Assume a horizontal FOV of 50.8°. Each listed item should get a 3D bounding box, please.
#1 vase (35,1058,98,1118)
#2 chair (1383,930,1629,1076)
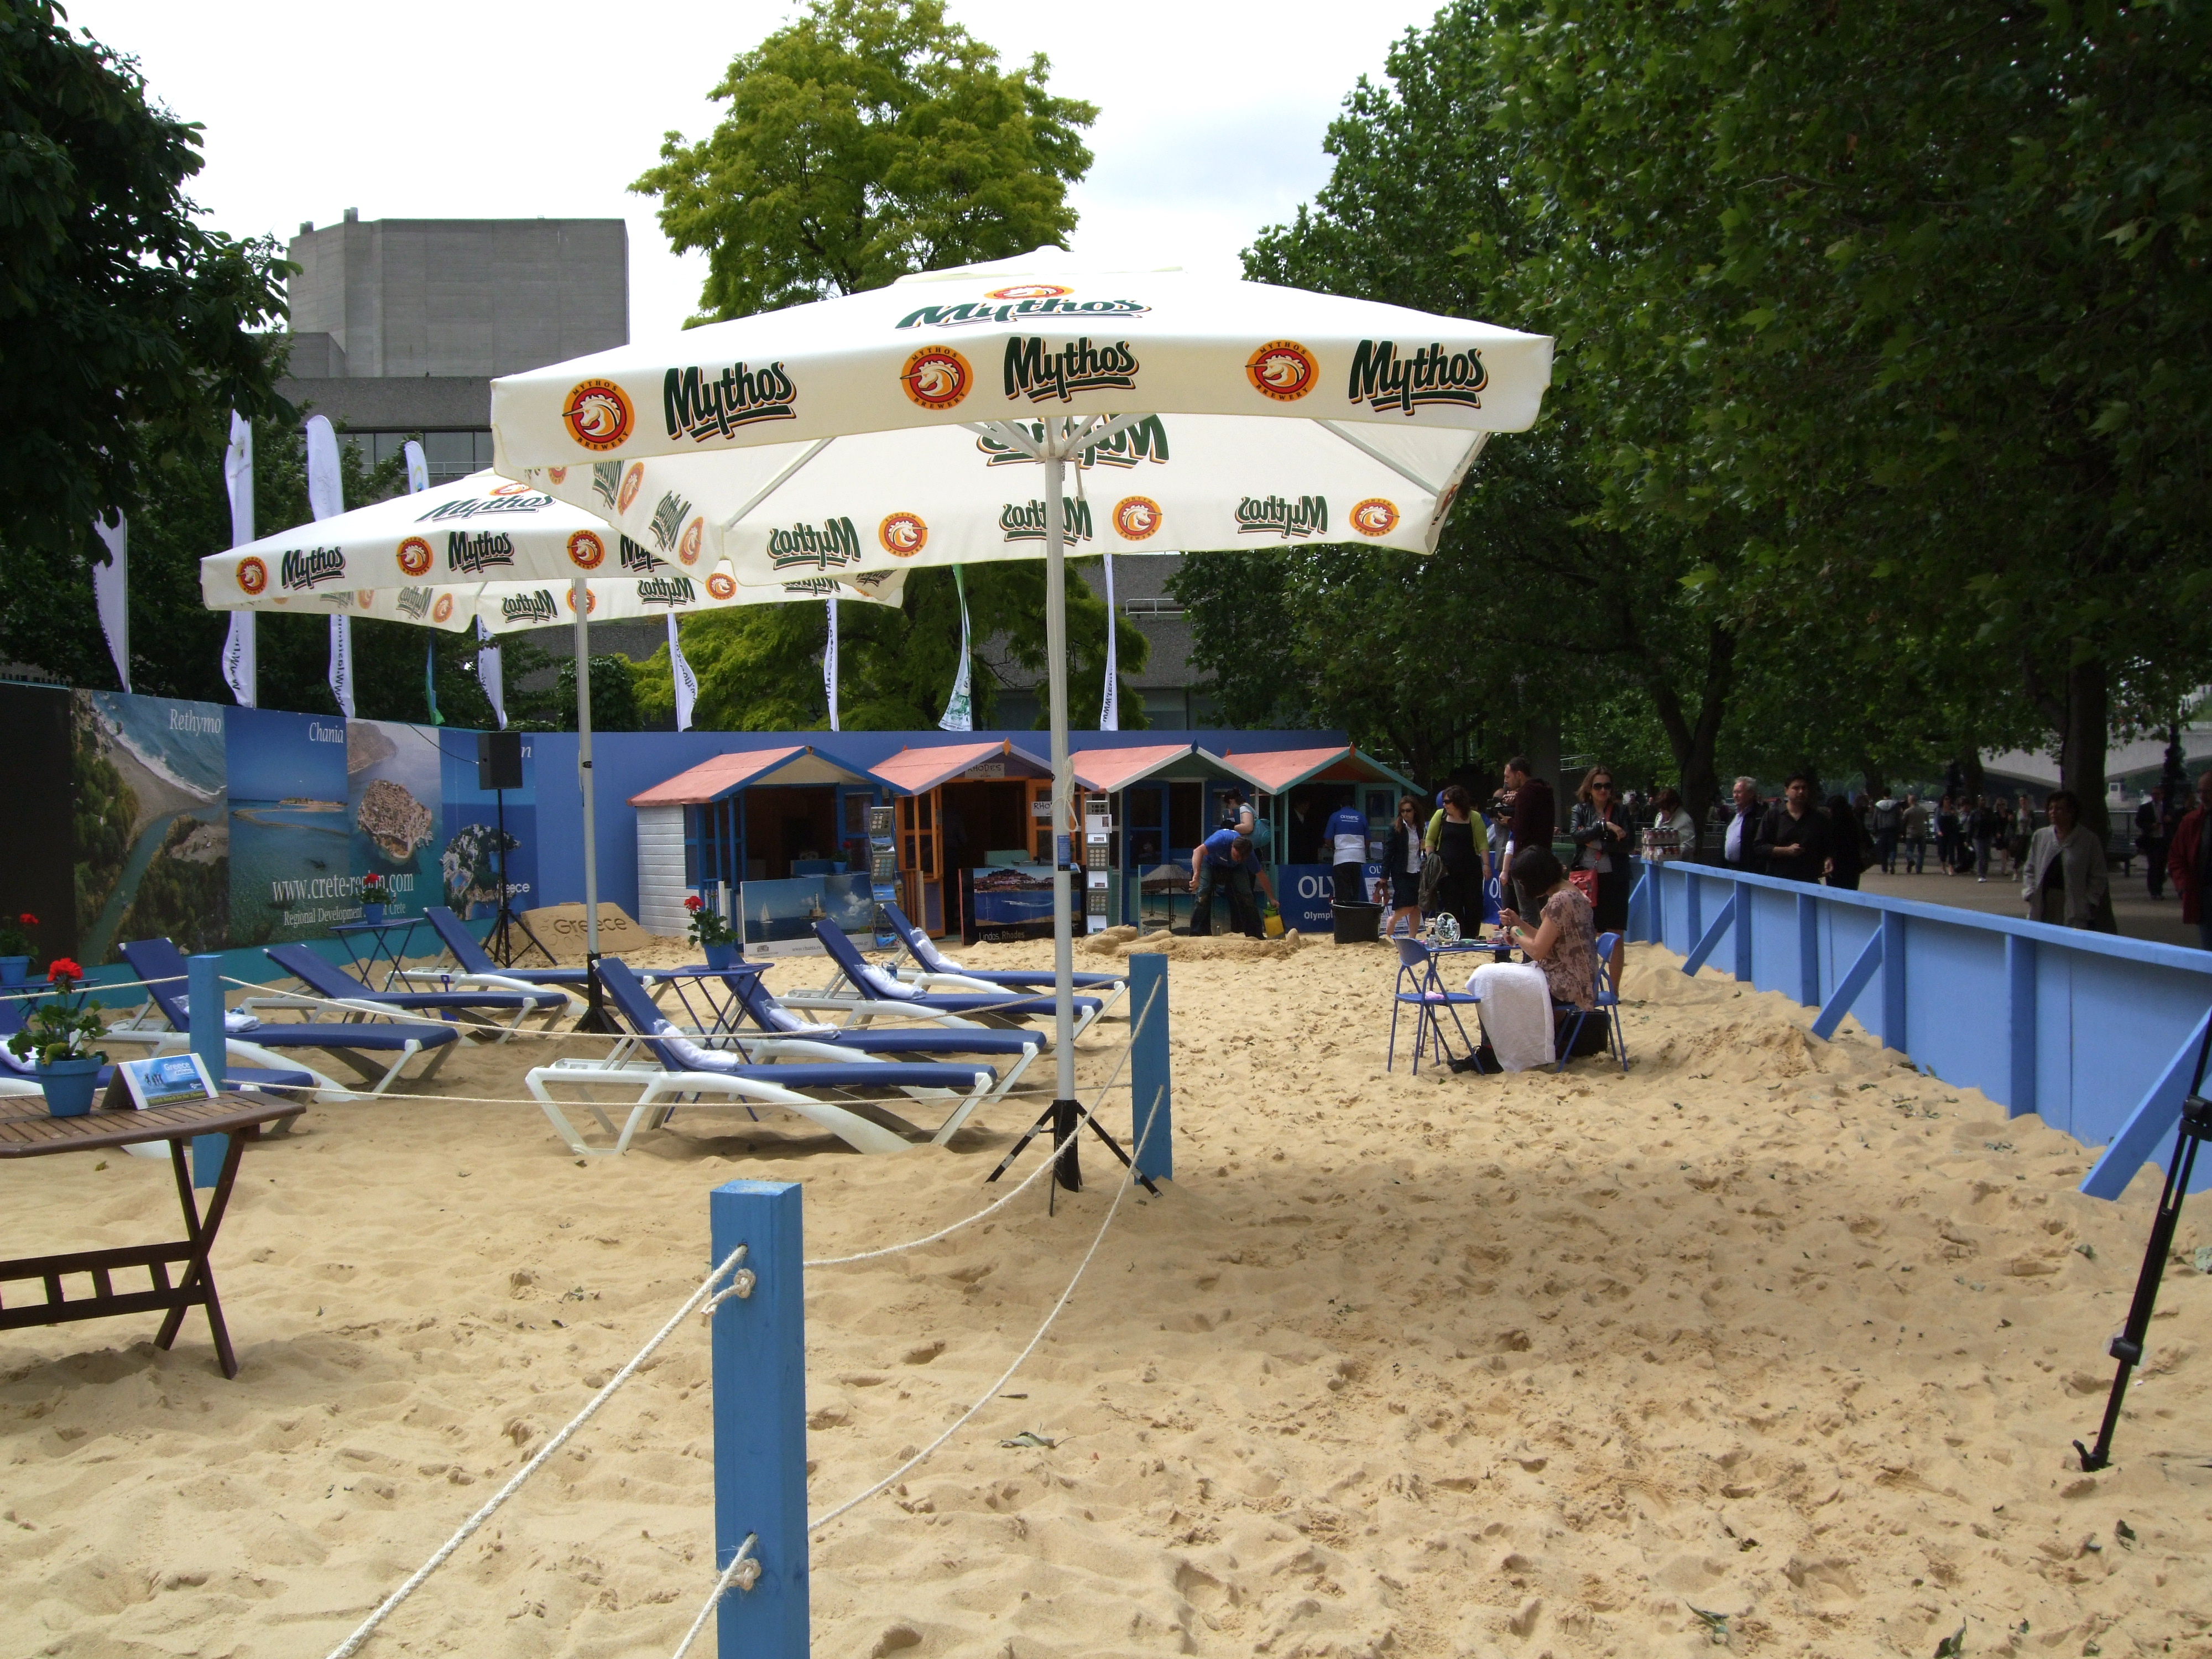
[{"bbox_3d":[-4.542,1.117,10.125,0.241,0.202,0.250,0,-11,-1],"label":"vase"},{"bbox_3d":[2.853,1.225,16.756,1.683,0.983,0.898,-1,3,0],"label":"chair"}]
